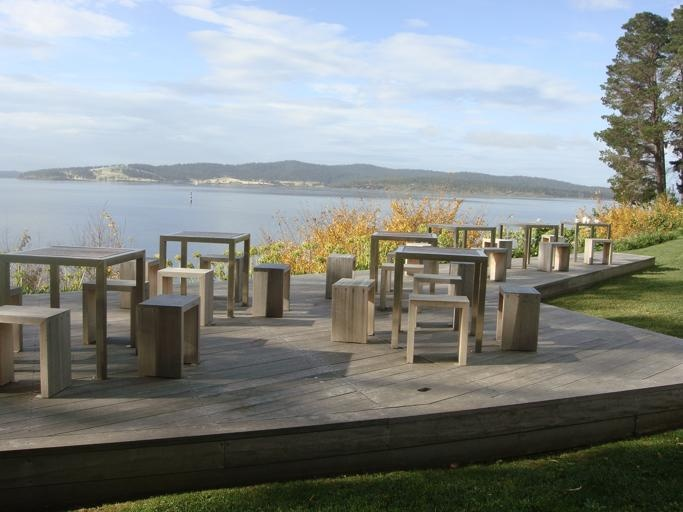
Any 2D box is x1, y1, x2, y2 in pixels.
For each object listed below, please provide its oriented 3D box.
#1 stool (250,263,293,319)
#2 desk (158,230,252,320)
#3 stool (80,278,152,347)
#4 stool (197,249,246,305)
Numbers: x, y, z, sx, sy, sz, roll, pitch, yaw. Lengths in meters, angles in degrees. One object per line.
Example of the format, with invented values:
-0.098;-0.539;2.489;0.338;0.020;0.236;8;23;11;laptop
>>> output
-0.747;0.353;6.516;0.318;0.537;0.394;2;11;5;stool
-1.459;0.168;6.754;0.978;0.934;0.980;3;7;15;desk
-2.090;0.508;5.549;0.632;0.599;0.602;1;4;7;stool
-1.500;0.252;7.101;0.550;0.706;0.563;0;3;3;stool
